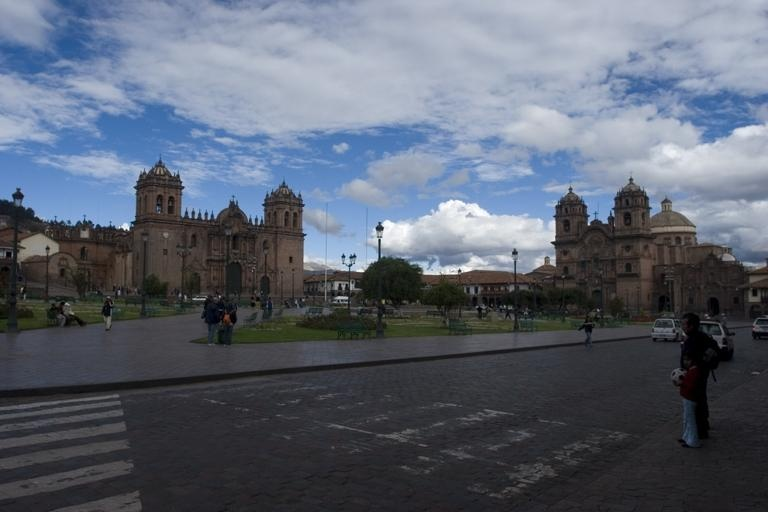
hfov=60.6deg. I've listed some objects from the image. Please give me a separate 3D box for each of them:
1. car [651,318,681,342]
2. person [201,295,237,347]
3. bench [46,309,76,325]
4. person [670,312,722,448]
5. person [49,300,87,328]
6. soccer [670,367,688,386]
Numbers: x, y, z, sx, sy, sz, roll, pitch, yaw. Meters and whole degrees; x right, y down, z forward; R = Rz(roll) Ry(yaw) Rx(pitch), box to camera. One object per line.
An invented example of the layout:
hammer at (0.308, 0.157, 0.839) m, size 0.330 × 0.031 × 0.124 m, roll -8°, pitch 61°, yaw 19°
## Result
car at (16.154, 4.253, 37.167) m, size 1.066 × 0.812 × 1.818 m, roll -1°, pitch 2°, yaw 39°
person at (-6.377, 2.491, 25.191) m, size 1.204 × 1.842 × 1.444 m, roll 2°, pitch -2°, yaw -6°
bench at (-16.453, 3.041, 32.722) m, size 1.224 × 0.690 × 0.836 m, roll -1°, pitch -1°, yaw 2°
person at (6.261, 2.388, 13.001) m, size 0.651 × 2.488 × 1.403 m, roll 1°, pitch -2°, yaw 25°
person at (-16.015, 2.942, 33.246) m, size 1.136 × 0.969 × 1.792 m, roll 2°, pitch 0°, yaw 25°
soccer at (5.686, 2.314, 12.634) m, size 0.234 × 0.294 × 0.361 m, roll 1°, pitch -2°, yaw 19°
